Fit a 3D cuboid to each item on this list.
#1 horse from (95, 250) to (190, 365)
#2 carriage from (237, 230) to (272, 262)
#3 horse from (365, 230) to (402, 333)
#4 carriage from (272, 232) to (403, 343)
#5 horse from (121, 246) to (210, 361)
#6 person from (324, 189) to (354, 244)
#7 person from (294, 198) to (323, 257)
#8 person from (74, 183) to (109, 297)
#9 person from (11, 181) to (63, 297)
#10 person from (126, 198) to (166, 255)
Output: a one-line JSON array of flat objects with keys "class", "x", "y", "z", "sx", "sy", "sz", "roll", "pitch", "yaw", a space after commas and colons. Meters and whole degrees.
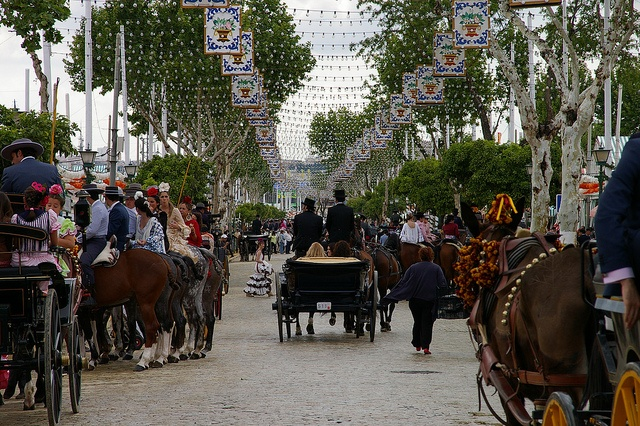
[{"class": "horse", "x": -4.334, "y": 1.759, "z": 23.755, "sx": 1.433, "sy": 2.492, "sz": 3.161, "roll": 0, "pitch": -2, "yaw": -17}, {"class": "carriage", "x": -3.263, "y": 1.626, "z": 58.291, "sx": 1.475, "sy": 1.327, "sz": 2.253, "roll": 0, "pitch": -1, "yaw": -8}, {"class": "horse", "x": 1.776, "y": 1.845, "z": 30.258, "sx": 0.954, "sy": 1.969, "sz": 1.378, "roll": 0, "pitch": -1, "yaw": -3}, {"class": "carriage", "x": 0.366, "y": 1.715, "z": 27.655, "sx": 2.865, "sy": 2.229, "sz": 2.689, "roll": 0, "pitch": -1, "yaw": 0}, {"class": "horse", "x": -3.853, "y": 1.934, "z": 25.209, "sx": 0.886, "sy": 2.776, "sz": 3.433, "roll": 8, "pitch": -11, "yaw": -39}, {"class": "person", "x": 0.533, "y": 0.443, "z": 29.051, "sx": 0.627, "sy": 2.000, "sz": 0.596, "roll": 1, "pitch": -8, "yaw": 4}, {"class": "person", "x": -0.328, "y": 0.372, "z": 28.959, "sx": 0.662, "sy": 1.521, "sz": 0.707, "roll": 0, "pitch": 0, "yaw": -21}, {"class": "person", "x": -4.576, "y": 0.559, "z": 23.359, "sx": 0.654, "sy": 2.052, "sz": 0.669, "roll": 1, "pitch": -1, "yaw": -4}, {"class": "person", "x": -4.955, "y": 0.493, "z": 20.100, "sx": 0.808, "sy": 2.050, "sz": 0.899, "roll": 0, "pitch": -1, "yaw": -8}, {"class": "person", "x": -3.552, "y": 0.262, "z": 24.004, "sx": 1.015, "sy": 1.451, "sz": 1.004, "roll": 1, "pitch": -5, "yaw": -16}]
